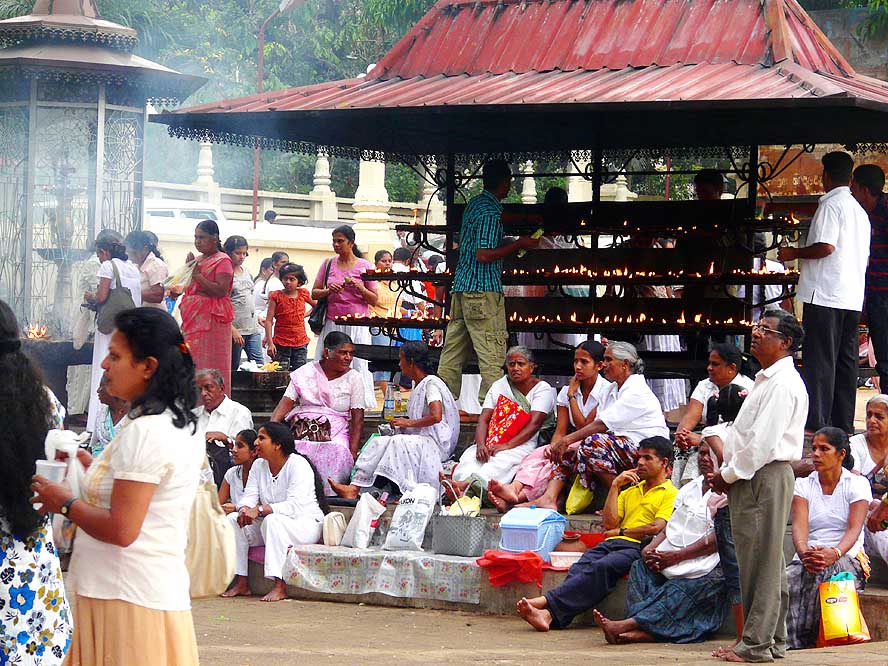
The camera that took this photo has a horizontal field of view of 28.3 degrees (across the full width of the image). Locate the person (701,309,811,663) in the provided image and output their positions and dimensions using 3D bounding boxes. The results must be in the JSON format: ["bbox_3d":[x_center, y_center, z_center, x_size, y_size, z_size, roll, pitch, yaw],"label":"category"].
[{"bbox_3d":[2.316,1.109,12.754,0.689,2.579,0.390,-1,0,9],"label":"person"}]

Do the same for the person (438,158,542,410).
[{"bbox_3d":[0.395,-0.372,16.082,0.664,2.388,0.682,-4,9,-40],"label":"person"}]

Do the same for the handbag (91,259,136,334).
[{"bbox_3d":[-3.192,-0.408,16.791,0.277,0.544,0.368,-5,11,8],"label":"handbag"}]

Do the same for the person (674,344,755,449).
[{"bbox_3d":[2.260,0.527,14.634,0.892,0.907,0.514,-7,9,-38],"label":"person"}]

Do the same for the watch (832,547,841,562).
[{"bbox_3d":[2.986,1.663,13.170,0.088,0.104,0.048,-1,0,-23],"label":"watch"}]

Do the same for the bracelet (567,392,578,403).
[{"bbox_3d":[1.097,0.550,14.988,0.085,0.086,0.085,0,2,-35],"label":"bracelet"}]

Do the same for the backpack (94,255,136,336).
[{"bbox_3d":[-3.183,-0.328,16.871,0.324,0.699,0.452,-26,-22,13],"label":"backpack"}]

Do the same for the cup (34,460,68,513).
[{"bbox_3d":[-2.460,0.944,10.753,0.251,0.323,0.249,1,0,0],"label":"cup"}]

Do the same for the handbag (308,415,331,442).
[{"bbox_3d":[-1.126,0.849,15.606,0.184,0.199,0.067,7,-12,-25],"label":"handbag"}]

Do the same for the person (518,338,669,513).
[{"bbox_3d":[1.407,0.779,14.604,1.389,1.833,1.008,5,-13,-3],"label":"person"}]

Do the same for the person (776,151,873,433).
[{"bbox_3d":[3.367,-0.338,15.504,0.789,2.599,0.747,0,5,-34],"label":"person"}]

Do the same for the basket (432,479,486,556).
[{"bbox_3d":[0.115,1.578,14.667,0.474,0.562,0.424,-1,0,1],"label":"basket"}]

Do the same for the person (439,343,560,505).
[{"bbox_3d":[0.428,0.796,15.079,0.651,0.992,1.738,6,22,26],"label":"person"}]

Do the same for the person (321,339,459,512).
[{"bbox_3d":[-0.445,0.878,15.540,1.406,1.769,0.895,1,-21,-2],"label":"person"}]

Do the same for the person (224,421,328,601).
[{"bbox_3d":[-1.473,1.502,14.873,0.837,1.479,0.537,-1,0,-3],"label":"person"}]

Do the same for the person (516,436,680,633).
[{"bbox_3d":[1.242,1.558,13.787,0.664,1.006,1.726,11,29,43],"label":"person"}]

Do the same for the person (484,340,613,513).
[{"bbox_3d":[0.929,0.846,14.900,1.567,1.010,0.543,-32,29,-35],"label":"person"}]

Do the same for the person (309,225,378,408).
[{"bbox_3d":[-1.065,-0.115,17.927,0.678,1.885,0.670,1,2,17],"label":"person"}]

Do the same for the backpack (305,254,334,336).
[{"bbox_3d":[-1.297,-0.380,17.878,0.254,0.751,0.286,-1,0,-2],"label":"backpack"}]
